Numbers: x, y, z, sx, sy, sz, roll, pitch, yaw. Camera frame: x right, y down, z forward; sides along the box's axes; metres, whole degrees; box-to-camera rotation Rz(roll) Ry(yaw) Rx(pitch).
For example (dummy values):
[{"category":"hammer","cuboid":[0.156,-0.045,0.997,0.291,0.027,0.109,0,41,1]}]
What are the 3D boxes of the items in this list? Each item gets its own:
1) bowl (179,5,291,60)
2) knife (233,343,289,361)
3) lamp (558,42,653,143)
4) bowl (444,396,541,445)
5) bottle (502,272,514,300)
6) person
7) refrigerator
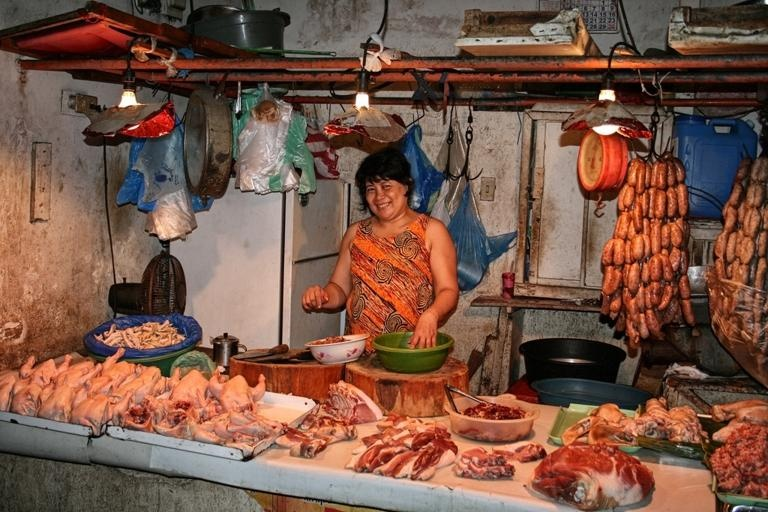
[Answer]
[{"category":"bowl","cuboid":[-1.110,-1.770,5.194,0.635,0.262,0.678,2,10,0]},{"category":"knife","cuboid":[-0.736,0.593,4.032,0.209,0.052,0.118,-4,1,-26]},{"category":"lamp","cuboid":[1.263,-0.952,3.741,0.443,0.549,0.348,-2,6,-36]},{"category":"bowl","cuboid":[0.549,0.891,3.490,0.295,0.098,0.286,-3,4,0]},{"category":"bottle","cuboid":[1.147,0.269,6.153,0.112,0.224,0.249,3,5,12]},{"category":"person","cuboid":[0.008,-0.064,4.516,1.040,1.350,0.934,4,6,23]},{"category":"refrigerator","cuboid":[-0.988,0.038,6.343,1.289,2.492,1.373,1,2,13]}]
